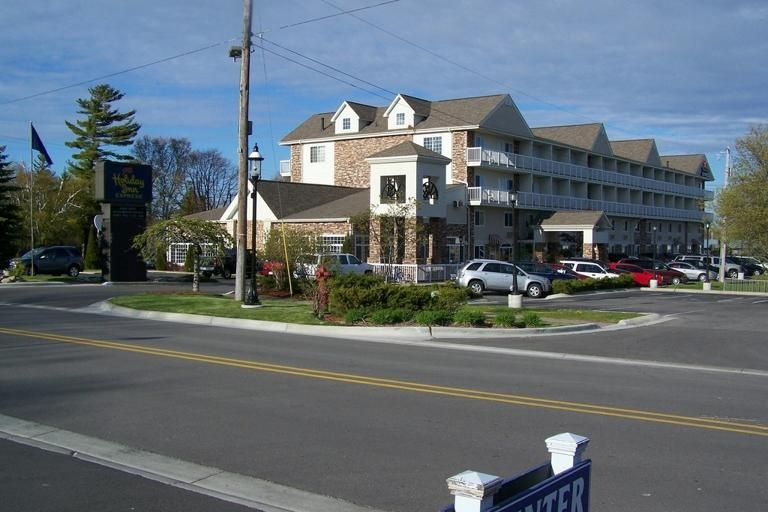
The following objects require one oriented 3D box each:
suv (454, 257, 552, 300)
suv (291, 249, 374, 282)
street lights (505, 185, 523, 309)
[{"bbox_3d":[6.202,1.174,39.265,4.797,1.731,2.170,0,1,12],"label":"suv"},{"bbox_3d":[-2.572,0.397,36.180,4.931,1.695,2.067,-1,-1,-9],"label":"suv"},{"bbox_3d":[5.898,-0.287,33.483,0.935,5.891,0.969,1,-6,1],"label":"street lights"}]
